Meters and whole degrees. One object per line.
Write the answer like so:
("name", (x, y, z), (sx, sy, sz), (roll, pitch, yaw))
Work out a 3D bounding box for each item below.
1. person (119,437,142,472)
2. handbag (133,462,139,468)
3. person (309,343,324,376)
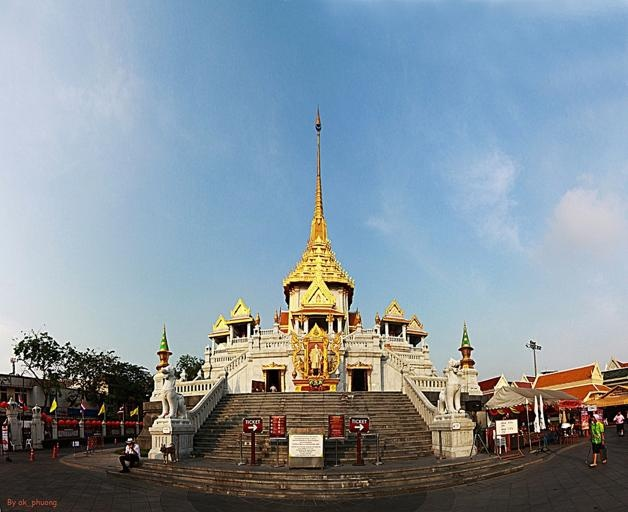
("person", (-7.789, 8.248, 25.117), (0.593, 1.326, 0.860), (4, -5, 5))
("handbag", (-7.598, 8.859, 25.485), (0.113, 0.145, 0.126), (4, -26, -5))
("person", (0.127, 6.371, 37.232), (0.833, 1.934, 0.544), (7, -19, -28))
